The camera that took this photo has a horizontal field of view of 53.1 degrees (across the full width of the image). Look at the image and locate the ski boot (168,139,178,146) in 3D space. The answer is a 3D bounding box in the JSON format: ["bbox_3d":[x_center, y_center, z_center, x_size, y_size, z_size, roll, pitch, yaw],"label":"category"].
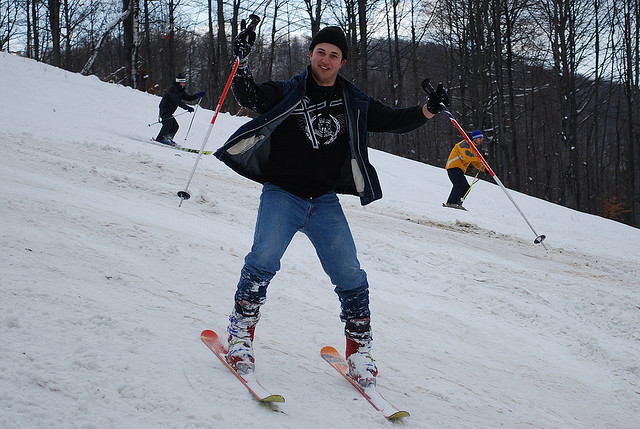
[{"bbox_3d":[-3.890,-1.890,16.945,0.296,0.093,0.098,38,37,-30],"label":"ski boot"}]
